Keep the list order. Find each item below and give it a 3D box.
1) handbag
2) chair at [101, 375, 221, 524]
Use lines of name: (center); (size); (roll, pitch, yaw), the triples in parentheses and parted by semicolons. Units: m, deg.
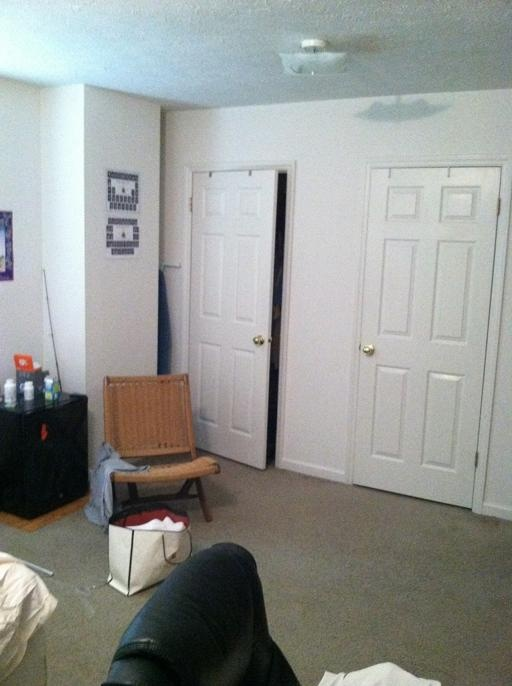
handbag: (-0.493, 0.950, 2.553); (0.282, 0.302, 0.408); (2, -1, 30)
chair: (-0.552, 0.603, 3.175); (0.637, 0.833, 0.824); (3, -1, -15)
